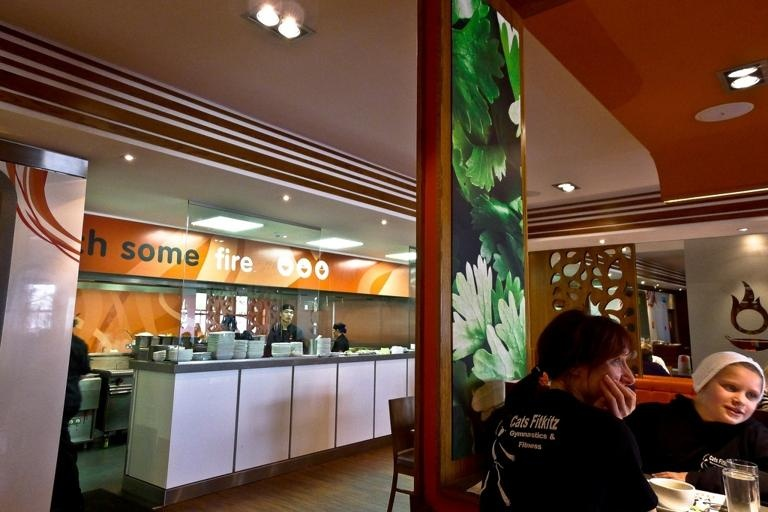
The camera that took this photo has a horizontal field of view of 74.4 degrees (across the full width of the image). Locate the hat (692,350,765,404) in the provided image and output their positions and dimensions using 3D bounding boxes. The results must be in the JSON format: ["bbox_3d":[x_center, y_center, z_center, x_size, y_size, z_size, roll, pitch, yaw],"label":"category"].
[{"bbox_3d":[2.174,0.757,3.227,0.345,0.299,0.210,1,-2,3],"label":"hat"}]

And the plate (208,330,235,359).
[{"bbox_3d":[-1.911,1.051,6.033,0.275,0.378,0.372,-13,-16,39],"label":"plate"}]

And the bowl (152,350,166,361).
[{"bbox_3d":[-2.529,1.123,5.712,0.163,0.145,0.093,3,-12,-24],"label":"bowl"}]

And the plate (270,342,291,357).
[{"bbox_3d":[-1.308,1.149,6.413,0.218,0.152,0.157,5,-8,-40],"label":"plate"}]

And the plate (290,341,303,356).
[{"bbox_3d":[-1.152,1.220,6.698,0.162,0.160,0.164,0,-7,-1],"label":"plate"}]

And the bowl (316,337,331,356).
[{"bbox_3d":[-0.861,1.256,7.096,0.161,0.235,0.418,1,-2,2],"label":"bowl"}]

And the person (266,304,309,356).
[{"bbox_3d":[-1.311,0.986,6.682,0.540,0.874,0.282,11,-27,-39],"label":"person"}]

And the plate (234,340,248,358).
[{"bbox_3d":[-1.706,1.107,6.040,0.070,0.205,0.174,-1,-3,39],"label":"plate"}]

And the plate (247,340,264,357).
[{"bbox_3d":[-1.559,1.133,6.153,0.186,0.149,0.183,9,-15,-41],"label":"plate"}]

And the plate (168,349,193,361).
[{"bbox_3d":[-2.249,1.054,5.594,0.168,0.111,0.178,-4,-6,33],"label":"plate"}]

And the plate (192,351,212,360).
[{"bbox_3d":[-2.098,1.146,5.836,0.195,0.086,0.075,2,-2,-20],"label":"plate"}]
